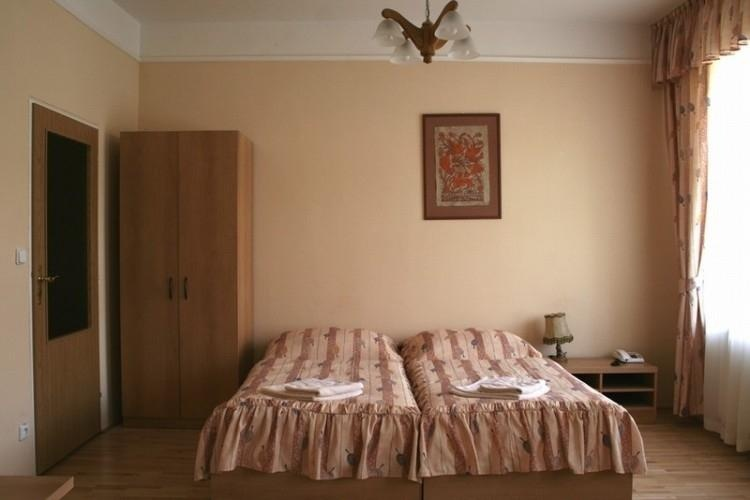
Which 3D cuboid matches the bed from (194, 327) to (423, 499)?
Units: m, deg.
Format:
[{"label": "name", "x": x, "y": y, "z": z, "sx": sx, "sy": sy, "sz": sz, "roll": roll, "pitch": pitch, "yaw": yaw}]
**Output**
[{"label": "bed", "x": -0.584, "y": 1.389, "z": 5.285, "sx": 1.257, "sy": 0.601, "sz": 1.605, "roll": 0, "pitch": 0, "yaw": 2}]
